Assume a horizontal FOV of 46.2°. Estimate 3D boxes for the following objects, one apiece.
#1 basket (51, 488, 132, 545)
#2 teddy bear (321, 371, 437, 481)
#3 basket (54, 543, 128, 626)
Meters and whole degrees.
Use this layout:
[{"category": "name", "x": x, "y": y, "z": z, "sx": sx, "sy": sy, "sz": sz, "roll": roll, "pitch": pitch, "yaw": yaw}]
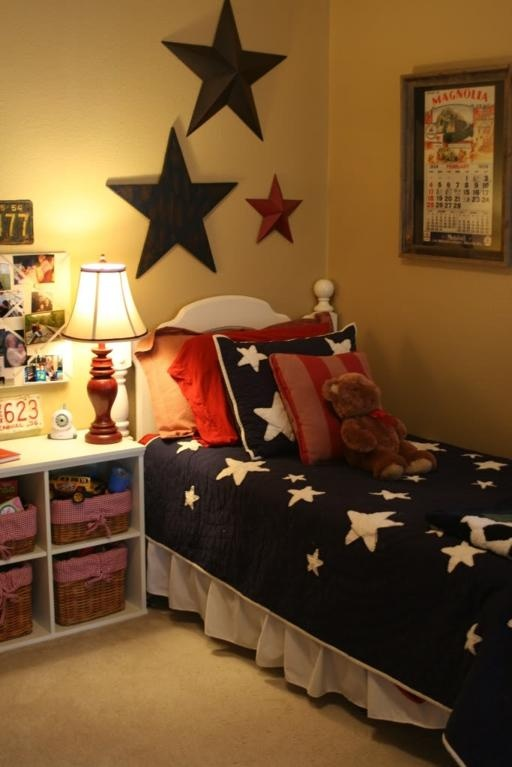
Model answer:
[{"category": "basket", "x": -0.552, "y": 0.442, "z": 2.025, "sx": 0.201, "sy": 0.106, "sz": 0.138, "roll": -2, "pitch": 0, "yaw": -40}, {"category": "teddy bear", "x": 0.394, "y": 0.130, "z": 1.964, "sx": 0.224, "sy": 0.356, "sz": 0.315, "roll": -7, "pitch": 3, "yaw": -30}, {"category": "basket", "x": -0.564, "y": 0.684, "z": 2.080, "sx": 0.208, "sy": 0.240, "sz": 0.287, "roll": 3, "pitch": 6, "yaw": 44}]
